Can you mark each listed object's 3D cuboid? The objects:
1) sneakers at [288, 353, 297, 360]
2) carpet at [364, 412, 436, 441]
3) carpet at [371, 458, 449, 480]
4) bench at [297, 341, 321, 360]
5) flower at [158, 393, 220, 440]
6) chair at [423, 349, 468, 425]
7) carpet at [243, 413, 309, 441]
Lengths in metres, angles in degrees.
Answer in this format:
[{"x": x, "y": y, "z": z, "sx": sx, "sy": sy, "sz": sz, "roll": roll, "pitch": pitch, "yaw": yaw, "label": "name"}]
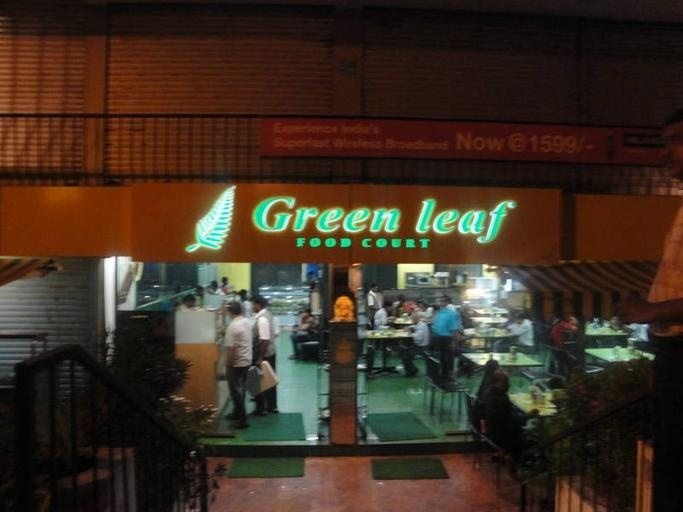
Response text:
[{"x": -1.094, "y": 2.161, "z": 18.187, "sx": 0.090, "sy": 0.077, "sz": 0.198, "roll": 0, "pitch": 3, "yaw": -30, "label": "sneakers"}, {"x": 0.916, "y": 2.809, "z": 14.028, "sx": 1.036, "sy": 0.124, "sz": 1.174, "roll": -1, "pitch": 7, "yaw": -16, "label": "carpet"}, {"x": 1.034, "y": 3.247, "z": 12.958, "sx": 1.175, "sy": 0.120, "sz": 0.678, "roll": 1, "pitch": 7, "yaw": -2, "label": "carpet"}, {"x": -0.704, "y": 1.996, "z": 17.866, "sx": 0.562, "sy": 0.471, "sz": 0.514, "roll": 2, "pitch": 2, "yaw": -6, "label": "bench"}, {"x": -2.160, "y": 2.182, "z": 11.633, "sx": 0.579, "sy": 0.539, "sz": 0.707, "roll": 4, "pitch": 8, "yaw": 24, "label": "flower"}, {"x": 1.855, "y": 2.363, "z": 15.081, "sx": 0.446, "sy": 0.712, "sz": 1.126, "roll": -3, "pitch": 4, "yaw": -8, "label": "chair"}, {"x": -1.147, "y": 2.820, "z": 13.947, "sx": 1.023, "sy": 0.155, "sz": 1.041, "roll": 0, "pitch": 7, "yaw": -6, "label": "carpet"}]
